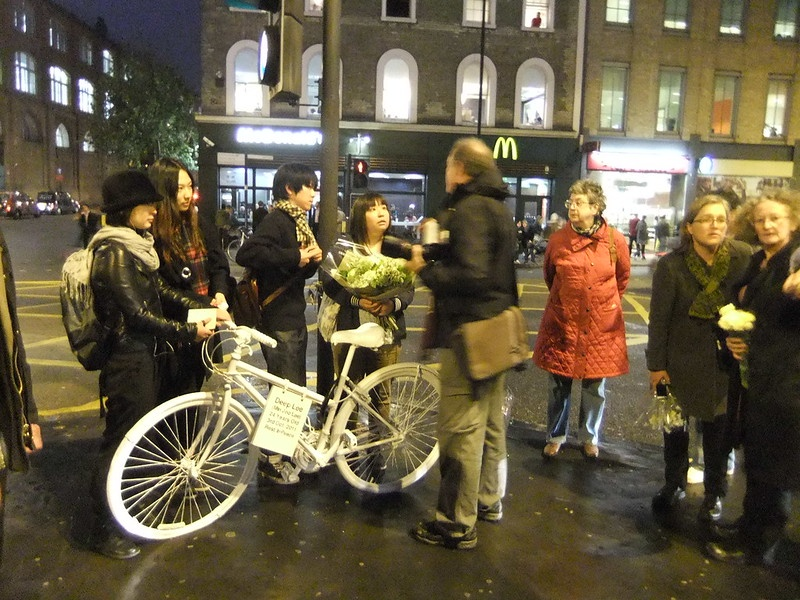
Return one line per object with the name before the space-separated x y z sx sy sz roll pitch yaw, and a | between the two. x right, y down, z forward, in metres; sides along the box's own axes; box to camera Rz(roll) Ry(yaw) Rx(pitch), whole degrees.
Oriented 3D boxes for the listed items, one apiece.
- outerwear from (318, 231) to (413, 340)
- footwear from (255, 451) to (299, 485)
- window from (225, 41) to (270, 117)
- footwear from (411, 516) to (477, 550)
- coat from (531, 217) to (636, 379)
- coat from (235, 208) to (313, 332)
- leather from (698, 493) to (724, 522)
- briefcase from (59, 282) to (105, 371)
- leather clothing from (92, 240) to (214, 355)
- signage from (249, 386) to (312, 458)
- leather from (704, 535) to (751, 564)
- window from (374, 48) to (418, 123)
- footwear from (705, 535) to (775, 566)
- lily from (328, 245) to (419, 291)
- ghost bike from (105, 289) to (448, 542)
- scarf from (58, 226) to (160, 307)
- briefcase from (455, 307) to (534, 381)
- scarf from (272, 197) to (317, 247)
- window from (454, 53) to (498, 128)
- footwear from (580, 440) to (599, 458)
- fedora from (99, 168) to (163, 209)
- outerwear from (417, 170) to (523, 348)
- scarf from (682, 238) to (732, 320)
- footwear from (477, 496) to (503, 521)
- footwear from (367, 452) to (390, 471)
outerwear | -0.290 -0.060 5.364 0.746 0.816 0.721 12 -3 12
footwear | -0.908 1.294 5.162 0.317 0.250 0.130 3 48 26
window | -6.143 -8.625 26.257 1.335 2.772 0.635 -3 11 -17
footwear | 0.301 1.589 4.741 0.458 0.223 0.187 8 16 22
coat | 1.599 -0.005 5.872 0.765 1.298 0.523 2 11 12
coat | -0.926 -0.313 5.606 0.759 1.094 0.883 -2 11 -10
leather | 2.351 1.547 5.067 0.222 0.238 0.132 1 3 -18
briefcase | -2.050 0.189 4.397 0.129 0.504 0.348 -15 22 -11
leather clothing | -1.659 -0.013 4.537 0.680 0.938 0.676 -3 26 -8
signage | -0.830 0.856 4.725 0.403 0.576 0.060 22 -2 -23
leather | 2.240 1.712 4.623 0.187 0.065 0.190 5 8 44
window | -0.112 -8.439 26.651 1.623 2.773 0.647 0 11 1
footwear | 2.313 1.721 4.617 0.350 0.096 0.215 -3 -1 24
lily | -0.215 -0.214 5.018 0.428 0.178 0.392 -3 37 -31
ghost bike | -0.800 0.810 5.519 2.907 1.603 1.086 -3 10 -27
scarf | -1.962 -0.228 4.712 0.617 0.659 0.418 9 -1 -19
briefcase | 0.631 0.272 4.402 0.443 0.480 0.171 -14 11 -12
scarf | -0.850 -0.629 5.366 0.160 0.395 0.283 1 16 43
window | 3.043 -8.371 27.075 1.554 2.796 0.650 1 11 6
footwear | 1.674 1.324 5.949 0.106 0.047 0.157 2 32 12
fedora | -1.831 -0.727 4.624 0.361 0.208 0.268 -21 13 -21
outerwear | 0.459 -0.238 4.487 0.647 1.176 0.374 2 11 9
scarf | 2.278 -0.143 4.961 0.289 0.544 0.121 3 -19 27
footwear | 0.659 1.578 5.012 0.088 0.109 0.228 6 -19 -21
footwear | -0.182 1.245 5.271 0.171 0.170 0.042 23 26 30
